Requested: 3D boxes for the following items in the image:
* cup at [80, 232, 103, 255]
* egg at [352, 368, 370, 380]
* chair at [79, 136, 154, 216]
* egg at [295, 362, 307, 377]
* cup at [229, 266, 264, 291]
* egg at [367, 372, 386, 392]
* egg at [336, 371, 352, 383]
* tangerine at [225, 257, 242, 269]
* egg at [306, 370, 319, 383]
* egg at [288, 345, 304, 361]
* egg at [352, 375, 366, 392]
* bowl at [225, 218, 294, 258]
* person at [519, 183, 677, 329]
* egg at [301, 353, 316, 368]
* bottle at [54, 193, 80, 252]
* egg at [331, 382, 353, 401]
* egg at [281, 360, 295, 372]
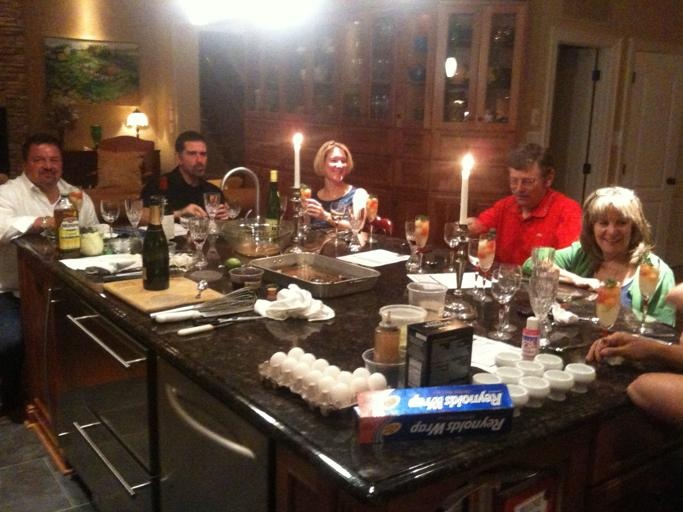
[{"bbox_3d":[-1.069,-0.051,2.295,0.105,0.081,0.097,1,-1,0],"label":"cup"},{"bbox_3d":[0.045,0.263,1.199,0.024,0.014,0.026,-2,5,-9],"label":"egg"},{"bbox_3d":[-3.073,-0.920,7.259,0.938,1.194,0.971,7,27,-2],"label":"chair"},{"bbox_3d":[-0.091,0.262,1.222,0.026,0.025,0.033,4,15,24],"label":"egg"},{"bbox_3d":[-0.341,0.075,1.946,0.092,0.057,0.091,1,19,0],"label":"cup"},{"bbox_3d":[0.076,0.277,1.172,0.040,0.030,0.039,-2,13,2],"label":"egg"},{"bbox_3d":[0.004,0.267,1.187,0.024,0.025,0.024,-3,8,27],"label":"egg"},{"bbox_3d":[-0.432,0.029,2.122,0.054,0.049,0.046,7,-1,-29],"label":"tangerine"},{"bbox_3d":[-0.064,0.269,1.188,0.027,0.029,0.025,-11,28,-6],"label":"egg"},{"bbox_3d":[-0.112,0.233,1.296,0.029,0.032,0.028,-13,43,-24],"label":"egg"},{"bbox_3d":[0.039,0.278,1.165,0.030,0.032,0.028,-19,-11,3],"label":"egg"},{"bbox_3d":[-0.393,-0.079,2.442,0.247,0.073,0.205,4,16,11],"label":"bowl"},{"bbox_3d":[1.144,-0.027,2.249,0.419,0.471,0.820,3,14,19],"label":"person"},{"bbox_3d":[-0.078,0.245,1.262,0.029,0.032,0.029,-28,39,-32],"label":"egg"},{"bbox_3d":[-1.213,-0.147,2.356,0.098,0.247,0.135,-9,16,-25],"label":"bottle"},{"bbox_3d":[-0.002,0.294,1.147,0.039,0.041,0.037,7,27,22],"label":"egg"},{"bbox_3d":[-0.125,0.255,1.248,0.031,0.028,0.035,-2,-22,29],"label":"egg"}]
